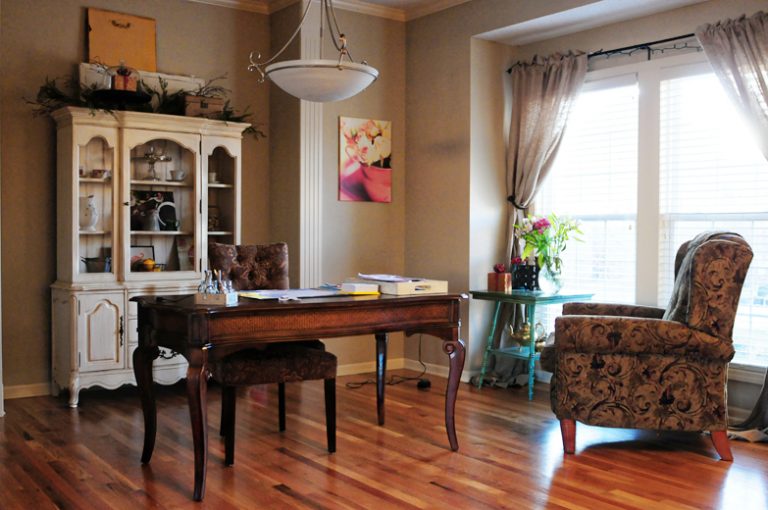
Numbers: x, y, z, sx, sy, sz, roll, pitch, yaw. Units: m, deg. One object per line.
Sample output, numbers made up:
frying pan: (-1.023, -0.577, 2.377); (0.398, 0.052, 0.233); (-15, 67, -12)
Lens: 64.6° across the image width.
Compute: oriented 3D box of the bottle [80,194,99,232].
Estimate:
bottle: (-2.542, -0.353, 5.186); (0.149, 0.312, 0.066); (-3, 8, -28)

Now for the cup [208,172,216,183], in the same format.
cup: (-1.623, -0.723, 5.686); (0.077, 0.085, 0.096); (5, 11, 26)

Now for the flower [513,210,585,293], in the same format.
flower: (1.498, -0.008, 5.849); (0.747, 0.696, 0.699); (-2, 0, -24)

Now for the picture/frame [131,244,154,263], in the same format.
picture/frame: (-2.179, -0.014, 5.394); (0.173, 0.132, 0.017); (-1, -4, -41)

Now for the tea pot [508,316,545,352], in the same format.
tea pot: (1.343, 0.760, 5.718); (0.388, 0.265, 0.254); (2, -2, 15)

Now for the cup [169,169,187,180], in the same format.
cup: (-1.901, -0.722, 5.520); (0.113, 0.074, 0.092); (3, -8, -25)

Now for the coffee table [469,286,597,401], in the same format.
coffee table: (1.378, 0.828, 5.874); (1.040, 0.949, 1.012); (-1, 2, -36)
